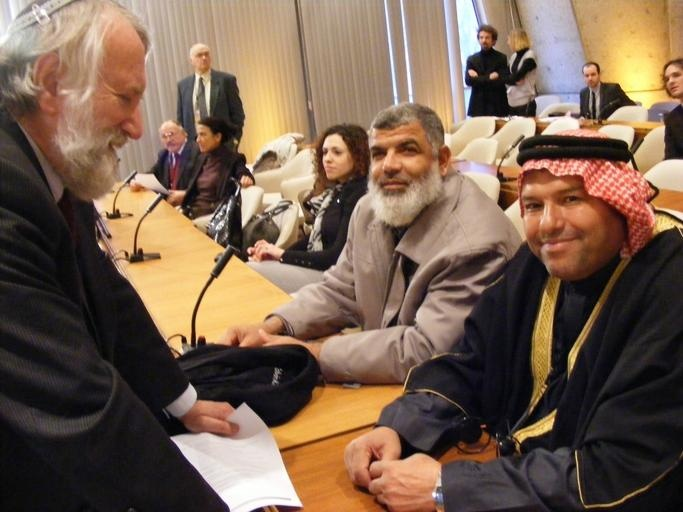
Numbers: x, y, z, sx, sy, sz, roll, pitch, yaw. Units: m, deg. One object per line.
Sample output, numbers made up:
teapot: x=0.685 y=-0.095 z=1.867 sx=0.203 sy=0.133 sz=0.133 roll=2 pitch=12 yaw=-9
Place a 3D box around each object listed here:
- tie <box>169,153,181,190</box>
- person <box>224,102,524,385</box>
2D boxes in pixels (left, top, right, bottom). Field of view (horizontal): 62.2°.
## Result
tie: x=-1.909 y=-0.981 z=6.556 sx=0.099 sy=0.414 sz=0.279 roll=-1 pitch=0 yaw=9
person: x=0.137 y=0.001 z=2.245 sx=1.109 sy=1.023 sz=0.841 roll=-1 pitch=7 yaw=-25
